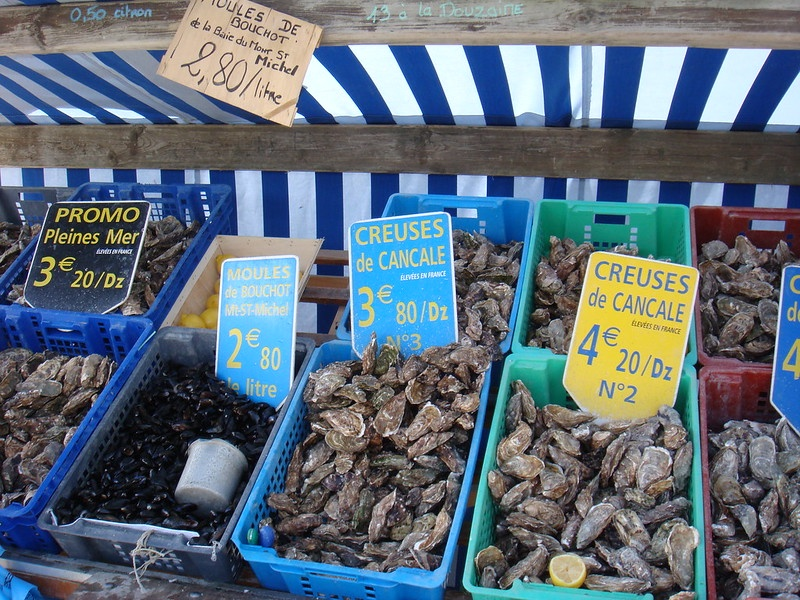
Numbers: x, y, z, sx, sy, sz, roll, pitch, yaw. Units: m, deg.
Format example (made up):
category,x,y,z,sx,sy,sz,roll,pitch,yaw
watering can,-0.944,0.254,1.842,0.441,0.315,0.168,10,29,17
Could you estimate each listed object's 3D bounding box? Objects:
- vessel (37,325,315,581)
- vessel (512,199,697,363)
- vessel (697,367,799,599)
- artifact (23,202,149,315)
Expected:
category,x,y,z,sx,sy,sz,roll,pitch,yaw
vessel,-0.902,0.609,2.505,0.732,0.869,0.281,8,-38,9
vessel,0.926,-0.131,2.849,0.814,0.737,0.469,9,-18,11
vessel,1.152,0.545,2.147,0.472,0.656,0.231,-2,-19,18
artifact,-1.433,-0.176,2.992,0.600,0.531,0.138,2,-17,18
